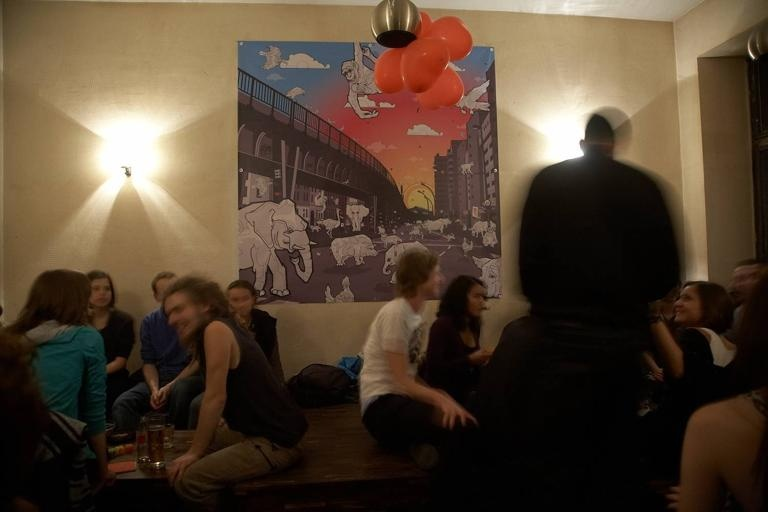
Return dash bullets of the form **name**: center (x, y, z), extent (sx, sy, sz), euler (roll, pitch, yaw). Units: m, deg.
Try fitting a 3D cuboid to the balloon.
- **balloon**: center (0.253, -1.105, 3.332), extent (0.569, 0.579, 0.225), euler (-10, 5, -23)
